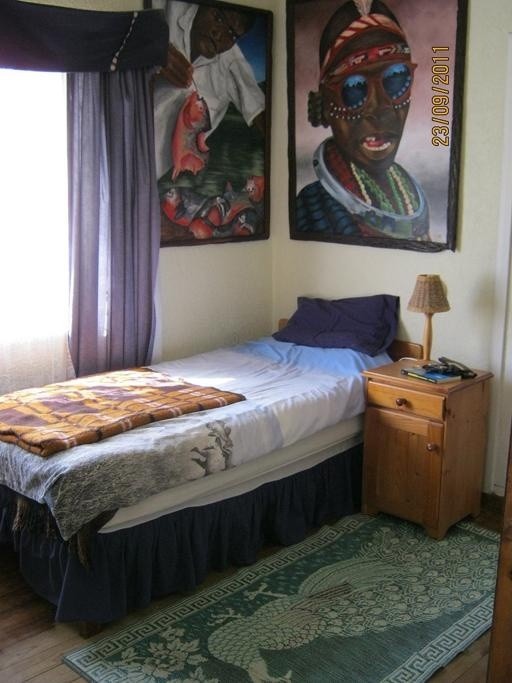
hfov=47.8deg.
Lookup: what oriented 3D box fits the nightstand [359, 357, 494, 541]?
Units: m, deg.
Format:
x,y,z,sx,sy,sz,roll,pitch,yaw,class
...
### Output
x,y,z,sx,sy,sz,roll,pitch,yaw,class
0.756,0.455,2.620,0.439,0.641,0.484,6,9,39,nightstand
